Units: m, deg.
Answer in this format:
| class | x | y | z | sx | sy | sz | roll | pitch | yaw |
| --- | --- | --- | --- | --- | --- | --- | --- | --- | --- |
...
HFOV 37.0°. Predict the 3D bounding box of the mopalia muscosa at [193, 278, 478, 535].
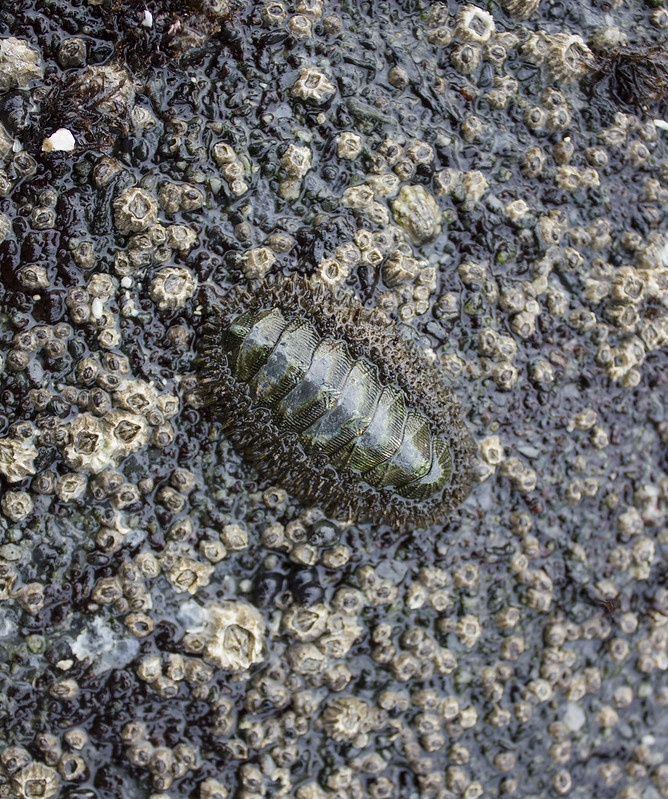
| class | x | y | z | sx | sy | sz | roll | pitch | yaw |
| --- | --- | --- | --- | --- | --- | --- | --- | --- | --- |
| mopalia muscosa | 0.013 | 0.028 | 3.984 | 0.790 | 0.375 | 1.228 | -45 | 86 | -5 |
